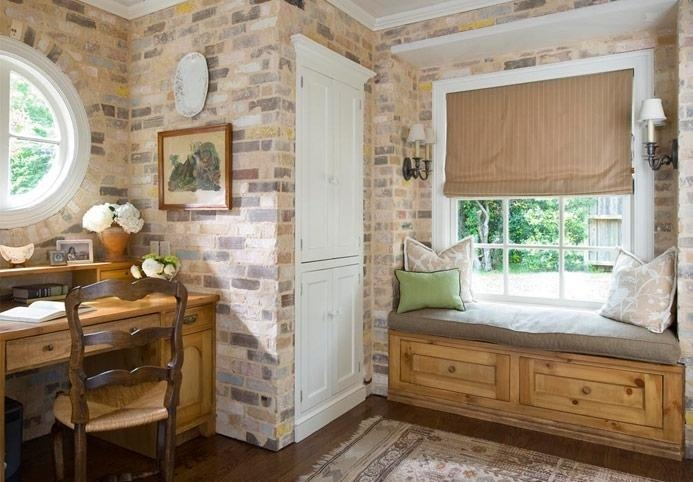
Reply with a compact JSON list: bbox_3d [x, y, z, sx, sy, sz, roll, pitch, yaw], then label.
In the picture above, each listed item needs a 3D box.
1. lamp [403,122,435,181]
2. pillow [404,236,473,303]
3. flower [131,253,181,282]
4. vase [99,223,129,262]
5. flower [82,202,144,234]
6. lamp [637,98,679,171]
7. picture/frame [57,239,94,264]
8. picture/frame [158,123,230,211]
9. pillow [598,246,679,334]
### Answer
[{"bbox_3d":[0.671,-0.806,4.538,0.234,0.490,0.405,2,7,27],"label":"lamp"},{"bbox_3d":[0.803,0.263,4.357,0.584,0.519,0.216,1,-12,2],"label":"pillow"},{"bbox_3d":[-1.450,0.192,3.847,0.325,0.221,0.317,-3,0,-8],"label":"flower"},{"bbox_3d":[-1.909,-0.006,4.098,0.322,0.323,0.298,-1,4,-19],"label":"vase"},{"bbox_3d":[-1.921,-0.221,4.152,0.452,0.324,0.521,2,7,-20],"label":"flower"},{"bbox_3d":[2.379,-0.833,3.811,0.252,0.563,0.325,3,7,33],"label":"lamp"},{"bbox_3d":[-2.074,0.078,3.824,0.193,0.159,0.015,5,-17,-45],"label":"picture/frame"},{"bbox_3d":[-1.157,-0.568,3.845,0.038,0.604,0.739,12,17,29],"label":"picture/frame"},{"bbox_3d":[2.204,0.372,3.738,0.345,0.590,0.627,-5,4,-34],"label":"pillow"}]
